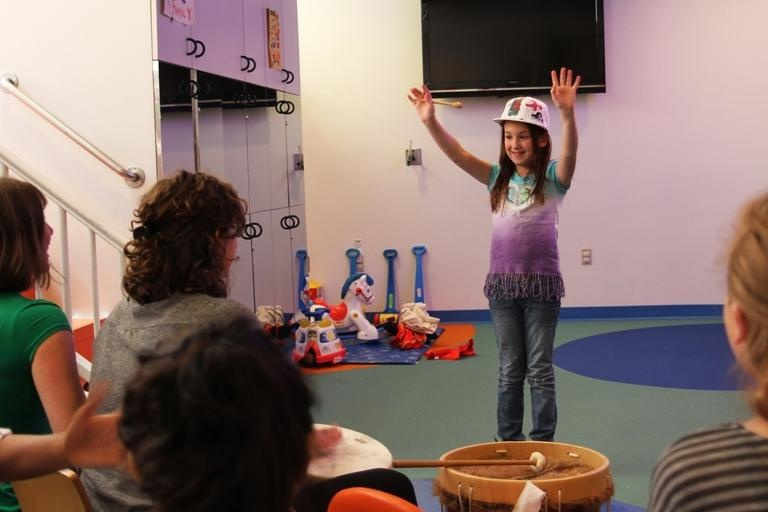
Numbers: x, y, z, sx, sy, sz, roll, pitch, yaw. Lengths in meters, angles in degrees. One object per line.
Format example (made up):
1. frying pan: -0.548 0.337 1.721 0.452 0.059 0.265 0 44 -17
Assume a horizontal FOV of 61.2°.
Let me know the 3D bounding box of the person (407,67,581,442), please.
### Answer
1. person: 0.548 0.020 3.022 0.635 1.740 0.467 3 8 34

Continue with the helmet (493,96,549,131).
1. helmet: 0.652 -0.674 3.022 0.257 0.136 0.205 8 11 -18
